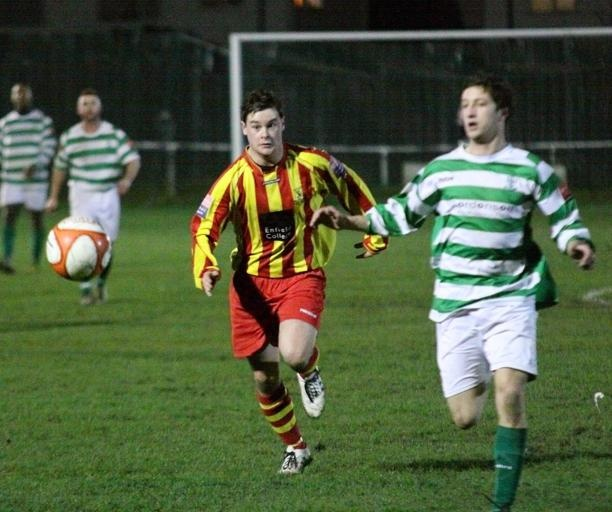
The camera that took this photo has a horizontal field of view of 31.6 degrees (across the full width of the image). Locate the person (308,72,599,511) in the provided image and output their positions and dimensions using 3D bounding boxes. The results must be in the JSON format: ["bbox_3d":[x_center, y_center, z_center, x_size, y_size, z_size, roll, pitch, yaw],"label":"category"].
[{"bbox_3d":[1.030,0.190,6.392,1.169,2.479,0.649,5,7,38],"label":"person"}]

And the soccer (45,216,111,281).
[{"bbox_3d":[-1.645,-0.024,7.765,0.463,0.486,0.582,8,4,-18],"label":"soccer"}]

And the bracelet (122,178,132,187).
[{"bbox_3d":[-1.561,-0.638,9.328,0.072,0.068,0.018,3,41,9],"label":"bracelet"}]

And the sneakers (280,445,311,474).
[{"bbox_3d":[-0.073,1.274,6.739,0.152,0.148,0.263,3,6,17],"label":"sneakers"}]

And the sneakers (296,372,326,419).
[{"bbox_3d":[0.031,0.925,7.109,0.128,0.358,0.157,-11,5,12],"label":"sneakers"}]
